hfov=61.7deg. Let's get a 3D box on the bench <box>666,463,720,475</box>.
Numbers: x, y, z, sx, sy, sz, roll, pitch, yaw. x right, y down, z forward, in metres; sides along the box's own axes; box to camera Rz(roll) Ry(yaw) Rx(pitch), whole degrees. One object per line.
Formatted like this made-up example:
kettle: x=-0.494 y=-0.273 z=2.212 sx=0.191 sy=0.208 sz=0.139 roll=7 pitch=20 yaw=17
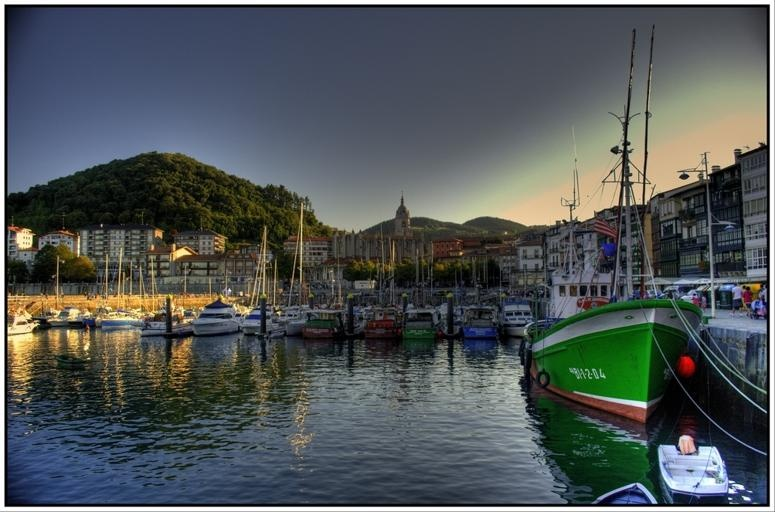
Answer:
bench: x=15.147 y=10.355 z=31.640 sx=2.693 sy=0.380 sz=0.622 roll=-4 pitch=-42 yaw=22
